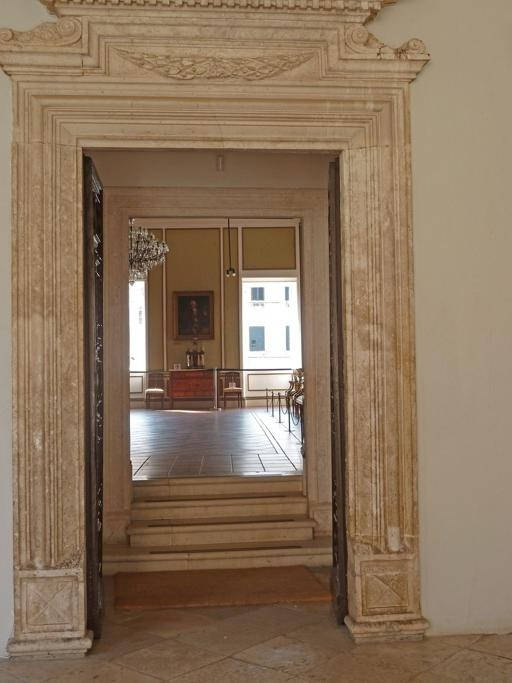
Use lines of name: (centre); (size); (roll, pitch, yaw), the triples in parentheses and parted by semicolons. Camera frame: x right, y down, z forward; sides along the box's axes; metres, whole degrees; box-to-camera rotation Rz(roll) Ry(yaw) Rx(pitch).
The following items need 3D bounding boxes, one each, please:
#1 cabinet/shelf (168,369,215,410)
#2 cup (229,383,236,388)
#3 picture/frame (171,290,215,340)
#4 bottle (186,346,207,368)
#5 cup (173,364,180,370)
cabinet/shelf: (-1.089, 0.779, 13.434); (0.663, 0.585, 0.259); (0, 8, -1)
cup: (-0.401, 0.754, 13.627); (0.086, 0.097, 0.087); (1, 4, 0)
picture/frame: (-1.135, -0.456, 13.933); (0.800, 1.038, 0.081); (-1, -4, -6)
bottle: (-1.056, 0.281, 13.778); (0.354, 0.490, 0.049); (0, -8, -12)
cup: (-1.390, 0.440, 13.822); (0.103, 0.084, 0.097); (-1, -3, 0)
